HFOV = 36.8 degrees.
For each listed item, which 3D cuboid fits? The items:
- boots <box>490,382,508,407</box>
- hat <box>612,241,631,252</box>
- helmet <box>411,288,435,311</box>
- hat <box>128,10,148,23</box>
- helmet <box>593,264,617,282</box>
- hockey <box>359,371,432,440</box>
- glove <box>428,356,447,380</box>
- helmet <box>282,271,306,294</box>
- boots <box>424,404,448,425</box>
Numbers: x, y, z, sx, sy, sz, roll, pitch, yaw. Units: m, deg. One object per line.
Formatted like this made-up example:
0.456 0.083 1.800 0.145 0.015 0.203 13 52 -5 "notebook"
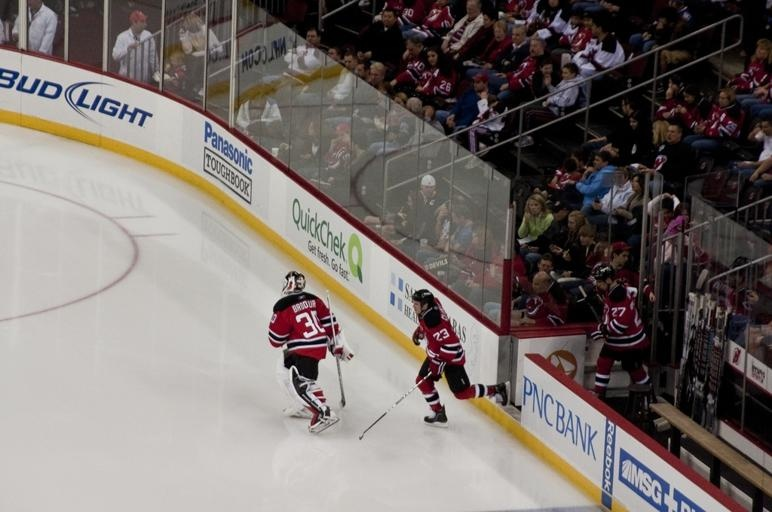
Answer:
1.354 1.609 13.951 0.154 0.370 0.136 -12 26 0 "boots"
2.791 -0.133 13.959 0.159 0.086 0.116 4 13 30 "hat"
0.435 0.509 13.901 0.266 0.283 0.217 17 -5 -8 "helmet"
-4.200 -4.077 19.726 0.260 0.185 0.136 -9 -25 -4 "hat"
2.580 0.185 13.729 0.214 0.197 0.171 9 -8 -12 "helmet"
0.120 1.853 14.236 0.162 1.139 0.083 38 31 -13 "hockey"
0.591 1.321 13.945 0.268 0.232 0.223 16 11 -14 "glove"
-1.110 0.305 14.108 0.288 0.288 0.223 7 0 30 "helmet"
0.583 1.910 14.164 0.367 0.247 0.146 8 15 37 "boots"
